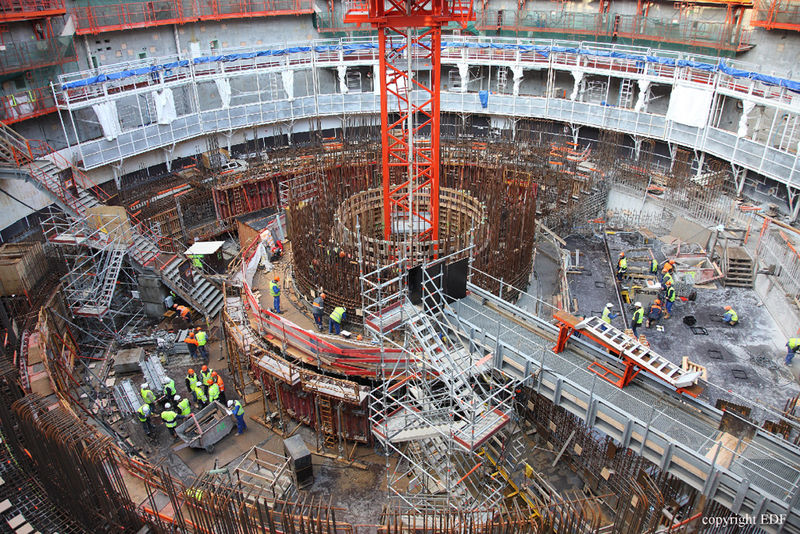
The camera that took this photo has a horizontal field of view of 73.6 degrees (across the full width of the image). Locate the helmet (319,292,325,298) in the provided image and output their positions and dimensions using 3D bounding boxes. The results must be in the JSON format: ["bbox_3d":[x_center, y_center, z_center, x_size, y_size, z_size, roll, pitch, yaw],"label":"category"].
[{"bbox_3d":[-3.731,1.380,25.485,0.251,0.261,0.263,-8,-11,-1],"label":"helmet"}]

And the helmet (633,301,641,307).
[{"bbox_3d":[11.722,1.864,26.255,0.393,0.282,0.555,0,3,20],"label":"helmet"}]

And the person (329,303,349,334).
[{"bbox_3d":[-2.968,2.512,24.844,0.760,1.654,0.870,-8,32,-10],"label":"person"}]

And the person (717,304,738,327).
[{"bbox_3d":[16.275,2.454,26.424,0.471,0.729,0.507,-41,43,-12],"label":"person"}]
